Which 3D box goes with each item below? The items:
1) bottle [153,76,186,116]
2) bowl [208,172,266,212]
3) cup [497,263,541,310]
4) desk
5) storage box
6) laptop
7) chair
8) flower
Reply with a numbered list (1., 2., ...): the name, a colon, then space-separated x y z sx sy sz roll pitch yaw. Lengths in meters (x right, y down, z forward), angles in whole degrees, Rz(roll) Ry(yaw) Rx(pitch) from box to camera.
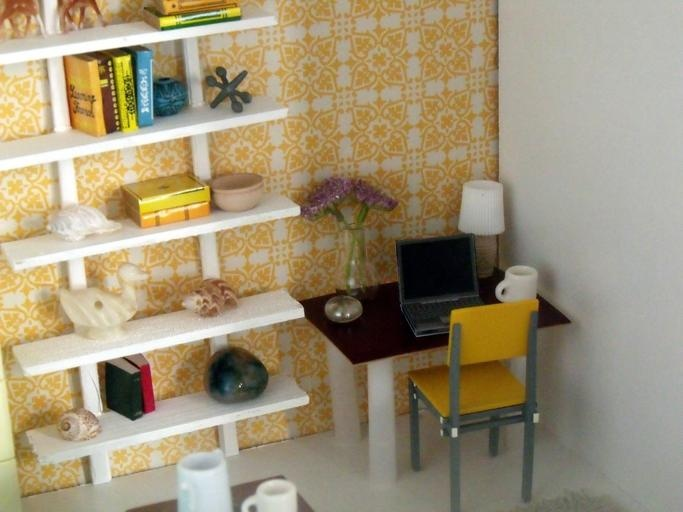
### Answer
1. bottle: -0.745 -0.704 2.663 0.153 0.117 0.154 -1 17 0
2. bowl: -0.469 -0.267 2.816 0.237 0.125 0.246 -5 12 1
3. cup: 0.839 0.124 2.947 0.226 0.200 0.138 -19 30 -30
4. desk: 0.380 0.518 2.978 1.218 0.890 0.966 -10 24 -22
5. storage box: -0.774 -0.254 2.747 0.389 0.145 0.258 -14 29 -20
6. laptop: 0.461 0.103 3.017 0.509 0.434 0.427 -6 20 -11
7. chair: 0.623 0.635 2.761 0.614 1.051 0.580 0 26 6
8. flower: 0.047 -0.139 3.266 0.547 0.717 0.566 6 17 29
